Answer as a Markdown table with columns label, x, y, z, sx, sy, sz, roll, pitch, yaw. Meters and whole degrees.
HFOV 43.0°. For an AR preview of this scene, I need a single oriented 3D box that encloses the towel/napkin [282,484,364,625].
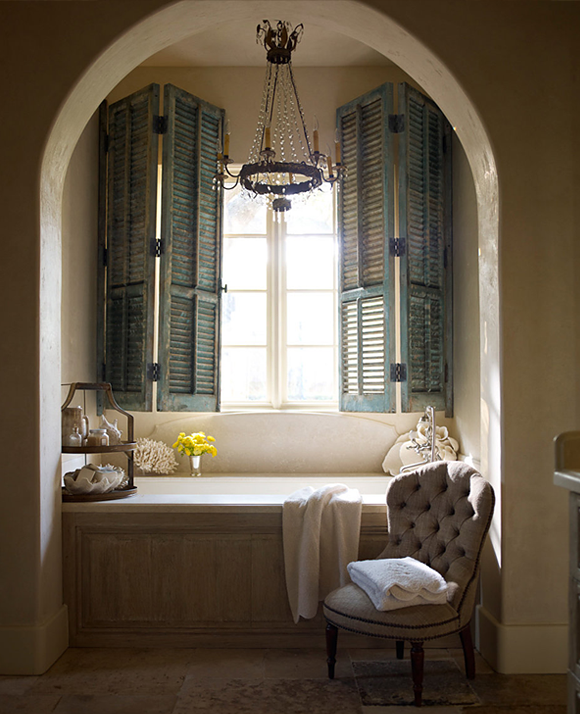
| label | x | y | z | sx | sy | sz | roll | pitch | yaw |
| --- | --- | --- | --- | --- | --- | --- | --- | --- | --- |
| towel/napkin | 0.117 | 0.728 | 2.868 | 0.274 | 0.511 | 0.137 | 0 | -3 | 4 |

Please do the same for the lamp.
| label | x | y | z | sx | sy | sz | roll | pitch | yaw |
| --- | --- | --- | --- | --- | --- | --- | --- | --- | --- |
| lamp | -0.044 | -1.139 | 3.432 | 0.413 | 0.741 | 0.465 | -4 | 8 | -22 |

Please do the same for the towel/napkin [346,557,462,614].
| label | x | y | z | sx | sy | sz | roll | pitch | yaw |
| --- | --- | --- | --- | --- | --- | --- | --- | --- | --- |
| towel/napkin | 0.382 | 0.750 | 2.521 | 0.293 | 0.113 | 0.323 | -3 | 2 | -15 |

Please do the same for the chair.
| label | x | y | z | sx | sy | sz | roll | pitch | yaw |
| --- | --- | --- | --- | --- | --- | --- | --- | --- | --- |
| chair | 0.353 | 0.744 | 2.780 | 0.622 | 1.020 | 0.645 | 8 | -10 | -34 |

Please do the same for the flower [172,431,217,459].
| label | x | y | z | sx | sy | sz | roll | pitch | yaw |
| --- | --- | --- | --- | --- | --- | --- | --- | --- | --- |
| flower | -0.501 | 0.479 | 4.059 | 0.161 | 0.122 | 0.170 | 1 | -1 | 32 |

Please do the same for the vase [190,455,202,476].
| label | x | y | z | sx | sy | sz | roll | pitch | yaw |
| --- | --- | --- | --- | --- | --- | --- | --- | --- | --- |
| vase | -0.518 | 0.597 | 4.052 | 0.076 | 0.147 | 0.085 | -1 | -5 | 4 |
